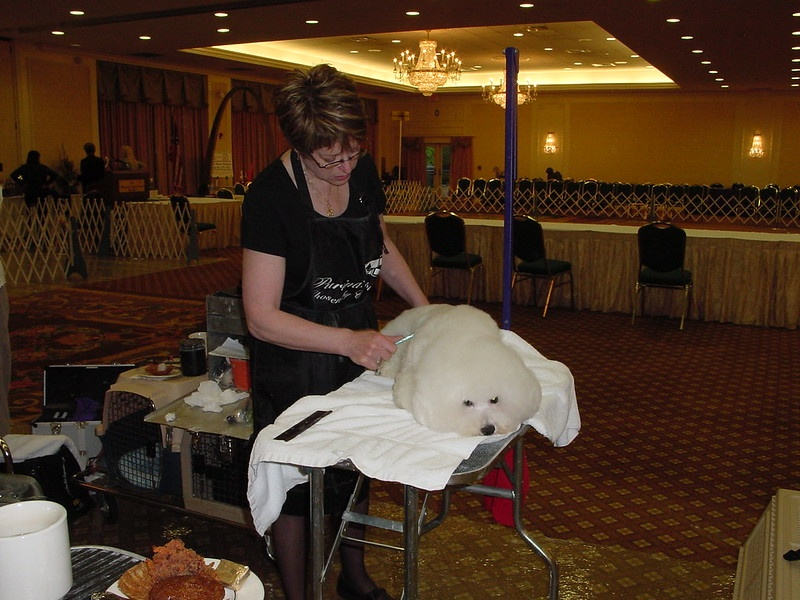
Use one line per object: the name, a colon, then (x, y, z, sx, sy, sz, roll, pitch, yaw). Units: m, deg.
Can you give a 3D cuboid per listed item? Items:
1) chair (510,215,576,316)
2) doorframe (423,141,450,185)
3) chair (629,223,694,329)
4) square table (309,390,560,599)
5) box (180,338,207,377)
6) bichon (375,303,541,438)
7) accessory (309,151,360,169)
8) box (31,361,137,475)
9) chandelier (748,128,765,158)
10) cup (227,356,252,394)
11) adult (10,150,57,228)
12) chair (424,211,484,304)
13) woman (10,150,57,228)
chair: (1.498, -0.353, 6.311, 0.669, 1.060, 0.872, 3, 7, 21)
doorframe: (1.269, -4.745, 20.304, 1.125, 2.135, 0.286, 13, 28, 30)
chair: (2.559, -0.236, 5.841, 0.550, 1.024, 0.719, 4, 7, 25)
square table: (0.100, 0.620, 1.764, 0.537, 0.623, 0.662, 10, 22, 27)
box: (-0.926, 0.259, 2.683, 0.109, 0.157, 0.126, -2, 7, -21)
bichon: (0.117, 0.094, 1.327, 0.247, 0.137, 0.336, -8, 28, -8)
accessory: (-0.161, -0.355, 1.508, 0.117, 0.047, 0.036, 0, 7, -9)
box: (-1.527, 0.534, 2.871, 0.477, 0.450, 0.194, 2, 7, 9)
chandelier: (9.915, -4.334, 16.598, 0.403, 0.728, 0.156, 5, 8, 29)
cup: (-0.658, 0.312, 2.485, 0.123, 0.133, 0.125, 1, 5, 0)
adult: (-6.131, -1.922, 10.044, 0.638, 1.275, 2.252, -3, 7, -31)
chair: (0.598, -0.441, 6.603, 0.684, 1.032, 0.826, 2, 7, 8)
woman: (-6.121, -1.922, 10.049, 0.649, 1.275, 2.086, -3, 7, -32)
